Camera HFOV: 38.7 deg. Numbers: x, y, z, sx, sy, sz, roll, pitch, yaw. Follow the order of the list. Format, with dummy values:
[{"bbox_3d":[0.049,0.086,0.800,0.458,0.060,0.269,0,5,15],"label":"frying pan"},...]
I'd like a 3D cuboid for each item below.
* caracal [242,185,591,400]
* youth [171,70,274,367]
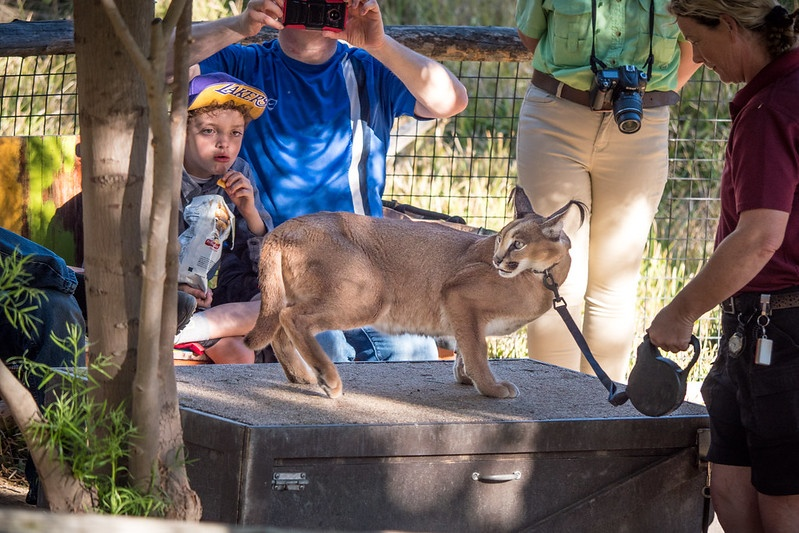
[{"bbox_3d":[0.061,0.151,4.878,1.373,0.930,0.354,0,2,-6],"label":"caracal"},{"bbox_3d":[-0.881,-0.226,5.726,0.428,1.486,0.482,-2,-24,2],"label":"youth"}]
